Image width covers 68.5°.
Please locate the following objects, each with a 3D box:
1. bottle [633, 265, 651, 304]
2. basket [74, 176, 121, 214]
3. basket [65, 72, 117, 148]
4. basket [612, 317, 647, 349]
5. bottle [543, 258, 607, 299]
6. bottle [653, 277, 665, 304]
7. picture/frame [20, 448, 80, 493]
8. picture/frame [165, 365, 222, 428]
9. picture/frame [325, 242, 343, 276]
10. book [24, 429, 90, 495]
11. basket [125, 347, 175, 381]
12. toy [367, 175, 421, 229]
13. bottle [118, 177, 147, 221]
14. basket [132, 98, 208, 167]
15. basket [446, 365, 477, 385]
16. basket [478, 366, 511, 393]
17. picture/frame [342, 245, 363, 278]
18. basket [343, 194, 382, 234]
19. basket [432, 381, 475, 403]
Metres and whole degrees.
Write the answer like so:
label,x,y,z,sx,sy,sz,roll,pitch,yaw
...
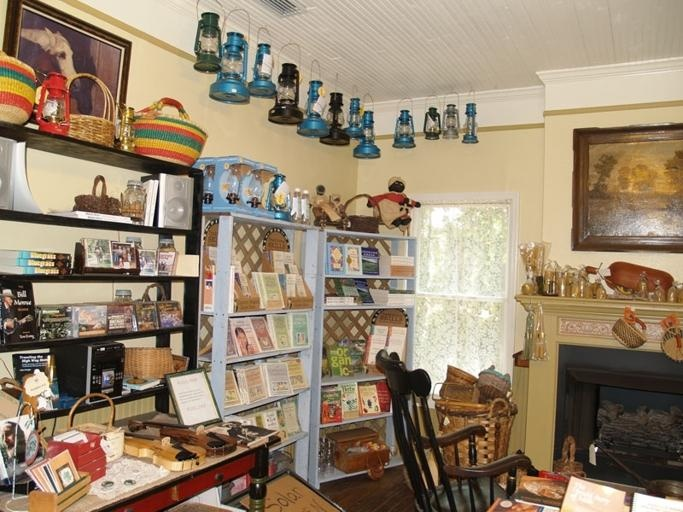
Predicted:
label,x,y,z,sx,sy,sz,roll,pitch,yaw
bottle,2.438,0.219,4.051,0.084,0.250,0.177,0,1,31
basket,-1.394,-0.352,2.874,0.231,0.181,0.425,-1,1,-21
basket,-1.396,-0.825,2.819,0.248,0.336,0.517,-1,1,-26
basket,2.323,0.625,4.055,0.239,0.246,0.097,0,1,25
bottle,1.943,0.189,4.260,0.334,0.207,0.430,1,0,-3
bottle,2.524,0.271,3.982,0.080,0.171,0.149,0,1,33
picture/frame,-1.215,0.899,2.087,0.072,0.129,0.191,-30,-10,17
picture/frame,-0.872,0.817,2.890,0.032,0.417,0.391,-32,-18,33
picture/frame,-0.075,0.035,4.177,0.045,0.300,0.266,-9,-11,40
book,-1.216,0.886,2.127,0.104,0.186,0.274,-32,-12,15
basket,-1.154,0.620,3.019,0.224,0.138,0.222,2,0,18
toy,0.537,-0.520,4.979,0.637,0.587,0.170,2,-7,-18
bottle,-1.204,-0.318,2.887,0.140,0.174,0.130,-1,1,0
basket,-1.065,-0.738,3.114,0.380,0.321,0.444,4,-7,-14
basket,1.016,1.037,4.280,0.182,0.077,0.172,9,-19,43
basket,1.289,1.044,4.180,0.232,0.226,0.209,13,-10,31
picture/frame,0.083,0.050,4.325,0.041,0.272,0.250,-14,-20,36
basket,0.164,-0.385,4.726,0.454,0.413,0.294,-1,2,-22
basket,0.934,1.136,4.188,0.311,0.111,0.248,0,-11,19
